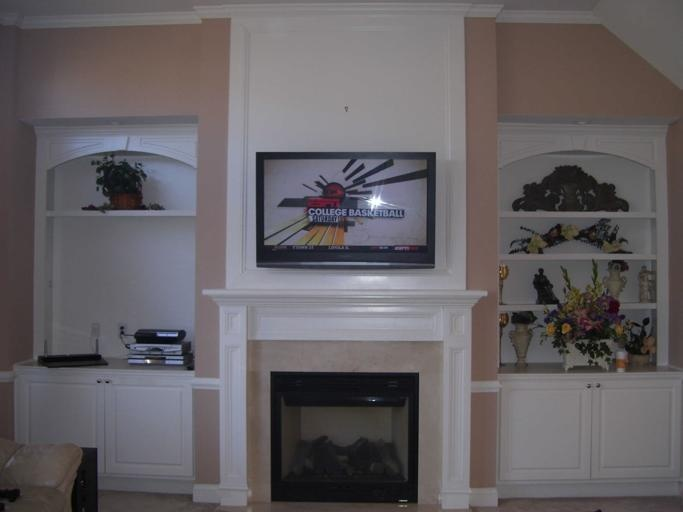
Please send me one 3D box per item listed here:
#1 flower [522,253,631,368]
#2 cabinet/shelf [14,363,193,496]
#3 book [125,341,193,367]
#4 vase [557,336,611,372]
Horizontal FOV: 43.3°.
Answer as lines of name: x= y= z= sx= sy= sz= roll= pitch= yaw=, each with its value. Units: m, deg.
flower: x=2.143 y=0.521 z=7.682 sx=0.777 sy=0.961 sz=0.528 roll=0 pitch=-5 yaw=8
cabinet/shelf: x=-2.061 y=1.491 z=7.722 sx=1.563 sy=1.032 sz=0.512 roll=2 pitch=3 yaw=1
book: x=-1.616 y=0.877 z=7.679 sx=0.561 sy=0.216 sz=0.220 roll=1 pitch=-5 yaw=-6
vase: x=2.131 y=0.909 z=7.541 sx=0.450 sy=0.308 sz=0.258 roll=1 pitch=-4 yaw=1
